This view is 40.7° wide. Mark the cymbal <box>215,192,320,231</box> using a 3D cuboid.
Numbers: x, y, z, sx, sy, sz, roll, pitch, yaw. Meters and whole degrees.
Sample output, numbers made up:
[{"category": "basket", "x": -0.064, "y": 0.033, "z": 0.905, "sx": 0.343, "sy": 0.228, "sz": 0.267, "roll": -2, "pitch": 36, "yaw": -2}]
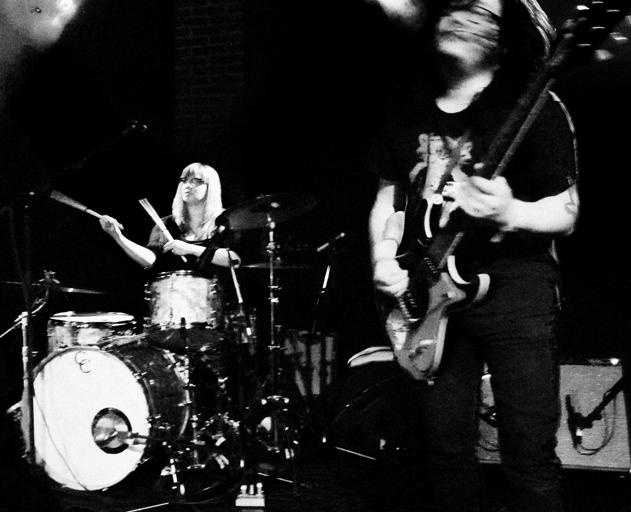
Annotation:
[{"category": "cymbal", "x": -0.239, "y": -0.221, "z": 4.197, "sx": 0.316, "sy": 0.054, "sz": 0.267, "roll": -12, "pitch": -20, "yaw": -1}]

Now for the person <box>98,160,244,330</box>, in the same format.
[{"category": "person", "x": -0.568, "y": -0.052, "z": 4.600, "sx": 1.160, "sy": 0.794, "sz": 0.592, "roll": 2, "pitch": 10, "yaw": -17}]

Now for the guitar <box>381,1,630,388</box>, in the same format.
[{"category": "guitar", "x": 0.753, "y": -0.249, "z": 3.581, "sx": 1.017, "sy": 1.527, "sz": 0.397, "roll": -5, "pitch": 15, "yaw": 3}]

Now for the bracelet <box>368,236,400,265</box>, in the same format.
[{"category": "bracelet", "x": 0.310, "y": -0.029, "z": 3.823, "sx": 0.139, "sy": 0.106, "sz": 0.120, "roll": -1, "pitch": -14, "yaw": 14}]

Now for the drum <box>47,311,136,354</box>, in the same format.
[{"category": "drum", "x": -1.127, "y": 0.373, "z": 4.254, "sx": 0.323, "sy": 0.158, "sz": 0.272, "roll": 0, "pitch": -6, "yaw": 6}]

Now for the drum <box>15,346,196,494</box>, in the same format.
[{"category": "drum", "x": -0.984, "y": 0.774, "z": 4.129, "sx": 0.771, "sy": 0.691, "sz": 0.347, "roll": -7, "pitch": 14, "yaw": -8}]
